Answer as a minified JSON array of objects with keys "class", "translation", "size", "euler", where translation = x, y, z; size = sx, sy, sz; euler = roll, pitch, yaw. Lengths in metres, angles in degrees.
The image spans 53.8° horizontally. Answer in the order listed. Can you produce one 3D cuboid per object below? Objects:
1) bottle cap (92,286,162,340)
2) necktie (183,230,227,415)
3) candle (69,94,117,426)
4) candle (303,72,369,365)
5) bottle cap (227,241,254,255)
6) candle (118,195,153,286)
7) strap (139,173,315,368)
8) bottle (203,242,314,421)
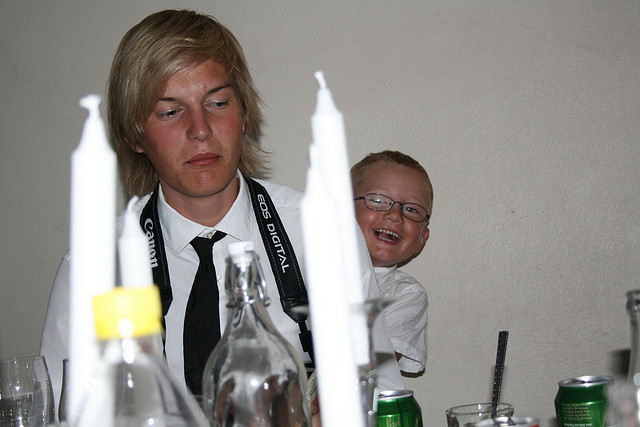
[{"class":"bottle cap","translation":[-0.258,0.134,0.848],"size":[0.078,0.052,0.076],"euler":[-3,-4,-40]},{"class":"necktie","translation":[-0.306,0.246,1.700],"size":[0.124,0.461,0.296],"euler":[-2,-12,-8]},{"class":"candle","translation":[-0.312,0.060,0.868],"size":[0.056,0.438,0.118],"euler":[1,-12,-21]},{"class":"candle","translation":[0.027,-0.001,0.892],"size":[0.046,0.422,0.138],"euler":[-8,-12,19]},{"class":"bottle cap","translation":[-0.118,0.052,0.944],"size":[0.028,0.015,0.027],"euler":[-3,-1,22]},{"class":"candle","translation":[-0.261,0.036,0.892],"size":[0.044,0.138,0.059],"euler":[0,-12,-17]},{"class":"strap","translation":[-0.179,0.115,1.718],"size":[0.365,0.536,0.119],"euler":[-13,-24,-2]},{"class":"bottle","translation":[-0.096,0.188,0.972],"size":[0.163,0.270,0.124],"euler":[-1,-12,-10]}]
